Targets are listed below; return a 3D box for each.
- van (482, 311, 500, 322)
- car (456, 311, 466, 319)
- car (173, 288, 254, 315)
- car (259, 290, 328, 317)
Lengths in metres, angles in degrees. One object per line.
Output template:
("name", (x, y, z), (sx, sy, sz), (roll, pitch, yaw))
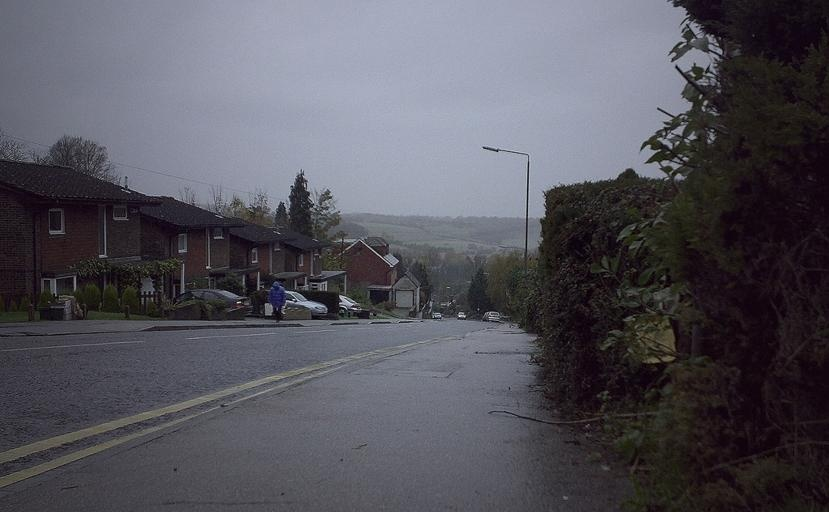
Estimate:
("van", (9.848, 7.732, 81.548), (1.270, 1.037, 2.718), (1, -12, -4))
("car", (7.215, 9.241, 99.353), (1.061, 0.961, 1.865), (-1, -9, 1))
("car", (-9.143, 2.277, 28.726), (2.943, 1.041, 1.415), (5, -3, 14))
("car", (-5.943, 2.521, 33.846), (3.022, 1.116, 1.455), (0, 0, 1))
